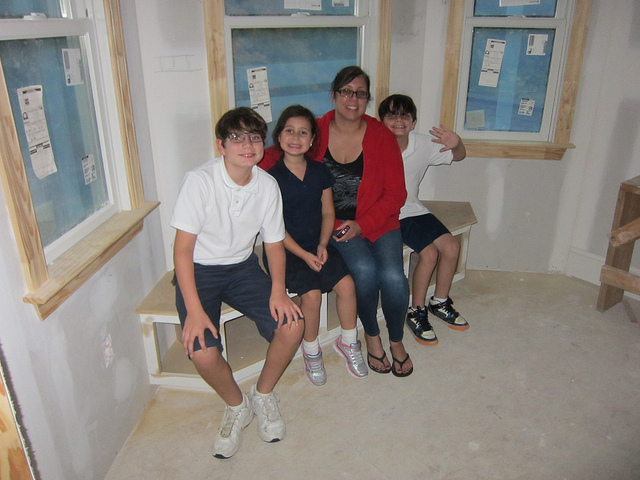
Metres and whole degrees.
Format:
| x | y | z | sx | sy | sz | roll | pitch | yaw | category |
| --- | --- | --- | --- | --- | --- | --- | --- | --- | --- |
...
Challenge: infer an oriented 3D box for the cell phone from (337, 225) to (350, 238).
| x | y | z | sx | sy | sz | roll | pitch | yaw | category |
| --- | --- | --- | --- | --- | --- | --- | --- | --- | --- |
| 0.135 | -0.047 | 2.660 | 0.082 | 0.019 | 0.040 | -46 | 17 | 3 | cell phone |

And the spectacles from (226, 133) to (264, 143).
| x | y | z | sx | sy | sz | roll | pitch | yaw | category |
| --- | --- | --- | --- | --- | --- | --- | --- | --- | --- |
| -0.353 | -0.489 | 2.195 | 0.169 | 0.046 | 0.037 | -9 | 24 | -16 | spectacles |

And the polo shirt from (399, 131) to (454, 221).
| x | y | z | sx | sy | sz | roll | pitch | yaw | category |
| --- | --- | --- | --- | --- | --- | --- | --- | --- | --- |
| 0.743 | -0.456 | 3.188 | 0.572 | 0.516 | 0.232 | -11 | -6 | 12 | polo shirt |

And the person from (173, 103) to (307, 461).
| x | y | z | sx | sy | sz | roll | pitch | yaw | category |
| --- | --- | --- | --- | --- | --- | --- | --- | --- | --- |
| -0.407 | 0.212 | 2.259 | 0.577 | 1.583 | 0.593 | -9 | 24 | -16 | person |

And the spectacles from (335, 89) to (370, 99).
| x | y | z | sx | sy | sz | roll | pitch | yaw | category |
| --- | --- | --- | --- | --- | --- | --- | --- | --- | --- |
| 0.189 | -0.839 | 2.626 | 0.183 | 0.058 | 0.063 | -2 | 23 | -2 | spectacles |

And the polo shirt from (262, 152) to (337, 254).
| x | y | z | sx | sy | sz | roll | pitch | yaw | category |
| --- | --- | --- | --- | --- | --- | --- | --- | --- | --- |
| -0.129 | -0.196 | 2.525 | 0.407 | 0.499 | 0.184 | -18 | 31 | -29 | polo shirt |

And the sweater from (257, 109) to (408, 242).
| x | y | z | sx | sy | sz | roll | pitch | yaw | category |
| --- | --- | --- | --- | --- | --- | --- | --- | --- | --- |
| 0.098 | -0.329 | 2.834 | 0.855 | 0.882 | 0.501 | 0 | 18 | -5 | sweater |
